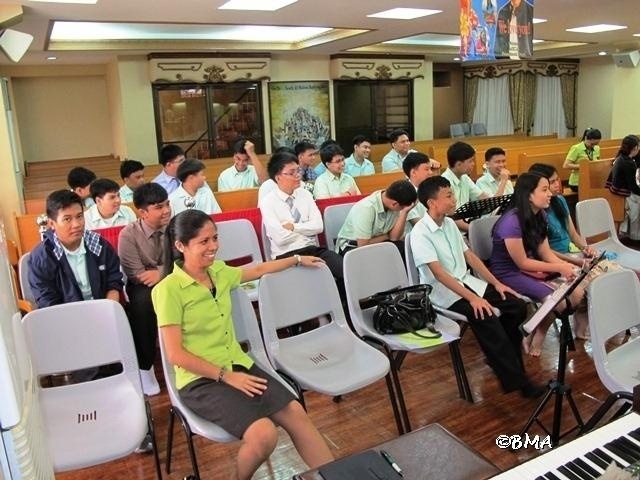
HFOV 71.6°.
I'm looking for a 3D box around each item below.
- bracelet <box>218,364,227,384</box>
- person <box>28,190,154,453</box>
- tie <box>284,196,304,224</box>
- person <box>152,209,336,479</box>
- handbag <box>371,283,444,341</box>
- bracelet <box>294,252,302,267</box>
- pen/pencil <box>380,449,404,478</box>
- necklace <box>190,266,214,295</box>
[{"bbox_3d":[-0.412,0.566,1.869,0.042,0.053,0.022,6,-9,-15],"label":"bracelet"},{"bbox_3d":[-1.394,0.336,2.552,0.496,1.234,0.594,-12,15,-25],"label":"person"},{"bbox_3d":[-0.193,-0.242,3.523,0.084,0.239,0.056,-11,-6,-18],"label":"tie"},{"bbox_3d":[-0.382,0.533,1.969,0.581,1.321,0.732,-11,14,-19],"label":"person"},{"bbox_3d":[0.498,0.400,2.471,0.352,0.268,0.198,-9,14,3],"label":"handbag"},{"bbox_3d":[-0.111,0.098,2.413,0.035,0.056,0.056,0,51,-2],"label":"bracelet"},{"bbox_3d":[0.176,0.541,1.100,0.016,0.016,0.106,19,12,-31],"label":"pen/pencil"},{"bbox_3d":[-0.527,0.187,2.036,0.086,0.089,0.110,-24,17,-39],"label":"necklace"}]
